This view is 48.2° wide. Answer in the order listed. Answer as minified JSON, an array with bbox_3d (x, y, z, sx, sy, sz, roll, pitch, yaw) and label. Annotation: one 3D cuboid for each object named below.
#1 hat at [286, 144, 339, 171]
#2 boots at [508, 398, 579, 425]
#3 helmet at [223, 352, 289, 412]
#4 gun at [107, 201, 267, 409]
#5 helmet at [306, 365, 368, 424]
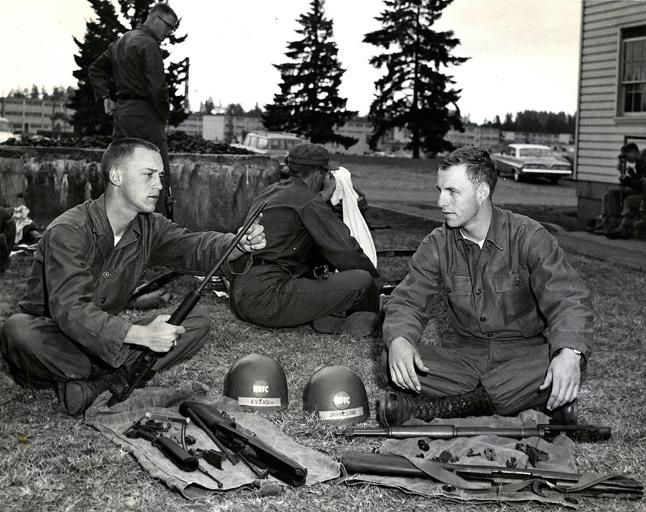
[{"bbox_3d":[-0.136,-0.986,7.171,0.333,0.166,0.265,4,13,-22],"label":"hat"},{"bbox_3d":[1.432,1.027,4.724,0.487,0.244,0.125,-3,-7,17],"label":"boots"},{"bbox_3d":[-0.492,0.901,5.287,0.472,0.428,0.544,2,-5,1],"label":"helmet"},{"bbox_3d":[-1.064,0.430,5.614,1.841,0.075,0.313,-54,10,-14],"label":"gun"},{"bbox_3d":[0.091,0.968,4.982,0.458,0.335,0.280,1,10,-5],"label":"helmet"}]
